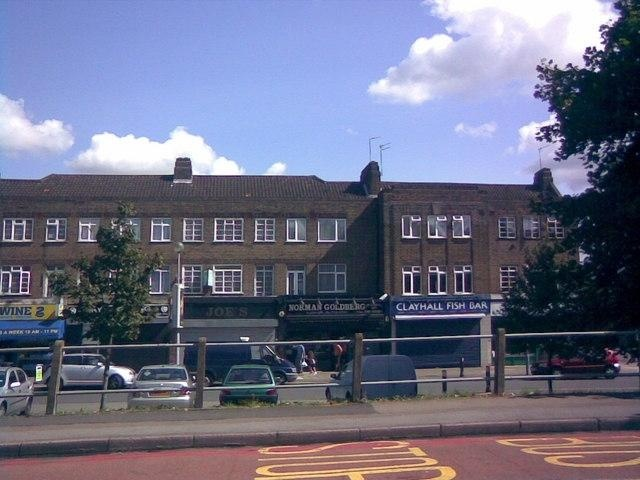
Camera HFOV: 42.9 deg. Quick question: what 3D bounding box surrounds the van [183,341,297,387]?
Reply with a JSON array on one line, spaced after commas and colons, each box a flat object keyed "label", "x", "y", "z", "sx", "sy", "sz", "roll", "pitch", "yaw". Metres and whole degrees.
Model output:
[{"label": "van", "x": -2.595, "y": 4.462, "z": 27.977, "sx": 4.153, "sy": 1.783, "sz": 1.735, "roll": -1, "pitch": -4, "yaw": -5}]

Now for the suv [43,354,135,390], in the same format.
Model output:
[{"label": "suv", "x": -9.315, "y": 5.537, "z": 34.032, "sx": 2.800, "sy": 1.518, "sz": 6.975, "roll": 2, "pitch": -7, "yaw": -17}]

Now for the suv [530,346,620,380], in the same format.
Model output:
[{"label": "suv", "x": 8.881, "y": 4.016, "z": 28.372, "sx": 2.631, "sy": 1.143, "sz": 1.546, "roll": 2, "pitch": -10, "yaw": 1}]

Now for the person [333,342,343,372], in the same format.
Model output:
[{"label": "person", "x": 0.631, "y": 3.838, "z": 26.954, "sx": 0.250, "sy": 0.759, "sz": 0.532, "roll": 8, "pitch": -3, "yaw": -28}]

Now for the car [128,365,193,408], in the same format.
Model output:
[{"label": "car", "x": -5.163, "y": 4.775, "z": 26.564, "sx": 1.939, "sy": 1.194, "sz": 3.576, "roll": 1, "pitch": -7, "yaw": -10}]

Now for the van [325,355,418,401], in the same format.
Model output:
[{"label": "van", "x": 1.841, "y": 4.444, "z": 26.076, "sx": 2.052, "sy": 1.139, "sz": 1.457, "roll": 1, "pitch": -7, "yaw": -6}]

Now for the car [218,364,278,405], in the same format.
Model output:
[{"label": "car", "x": -2.236, "y": 4.646, "z": 25.985, "sx": 1.737, "sy": 1.132, "sz": 2.262, "roll": 0, "pitch": -7, "yaw": -7}]
